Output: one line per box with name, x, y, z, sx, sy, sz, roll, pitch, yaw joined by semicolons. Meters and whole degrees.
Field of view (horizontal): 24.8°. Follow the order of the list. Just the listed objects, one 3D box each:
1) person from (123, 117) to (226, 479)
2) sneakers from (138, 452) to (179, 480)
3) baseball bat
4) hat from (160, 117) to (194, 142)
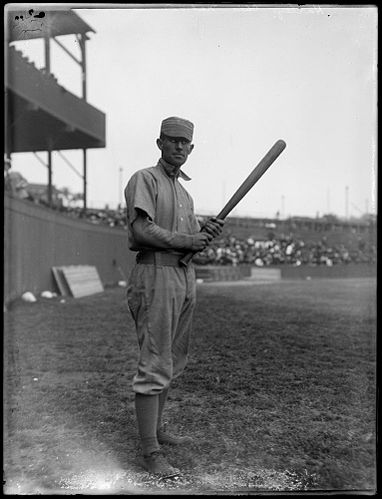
person;-0.128;0.232;4.633;0.487;1.609;0.391;1;1;-26
sneakers;-0.166;1.084;4.501;0.238;0.129;0.090;11;10;35
baseball bat;0.282;-0.168;5.542;0.082;1.028;0.083;37;-6;3
hat;-0.079;-0.633;4.628;0.200;0.150;0.200;-2;2;-30
